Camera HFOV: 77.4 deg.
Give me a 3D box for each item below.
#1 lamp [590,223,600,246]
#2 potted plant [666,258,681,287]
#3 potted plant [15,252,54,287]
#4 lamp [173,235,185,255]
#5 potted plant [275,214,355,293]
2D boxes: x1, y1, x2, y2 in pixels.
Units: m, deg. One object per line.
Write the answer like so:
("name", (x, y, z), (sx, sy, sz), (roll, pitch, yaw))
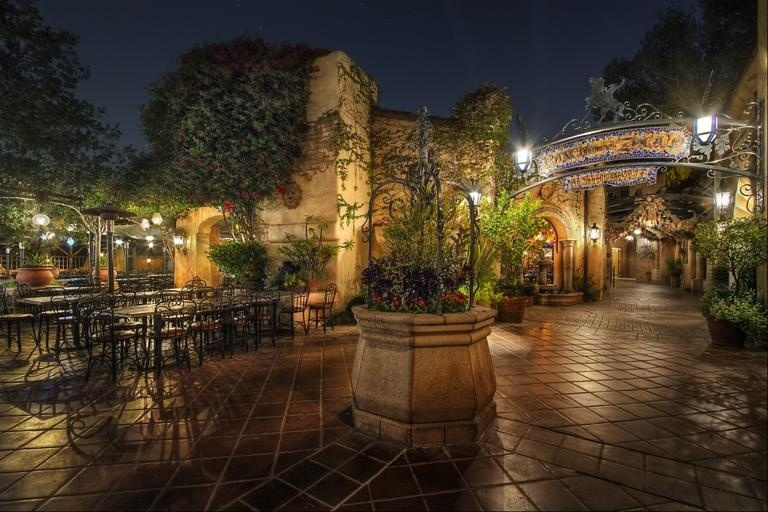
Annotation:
("lamp", (8.187, -0.884, 18.533), (0.356, 0.722, 0.862), (-2, -1, 24))
("potted plant", (16.154, 0.877, 26.547), (0.642, 1.629, 2.462), (-2, -1, 27))
("potted plant", (-10.222, 0.424, 13.971), (0.857, 1.082, 0.797), (0, -4, -40))
("lamp", (-7.462, -0.477, 17.474), (0.352, 0.691, 0.714), (-1, -1, -22))
("potted plant", (-2.230, -0.044, 14.480), (2.639, 2.740, 2.002), (1, -9, -3))
